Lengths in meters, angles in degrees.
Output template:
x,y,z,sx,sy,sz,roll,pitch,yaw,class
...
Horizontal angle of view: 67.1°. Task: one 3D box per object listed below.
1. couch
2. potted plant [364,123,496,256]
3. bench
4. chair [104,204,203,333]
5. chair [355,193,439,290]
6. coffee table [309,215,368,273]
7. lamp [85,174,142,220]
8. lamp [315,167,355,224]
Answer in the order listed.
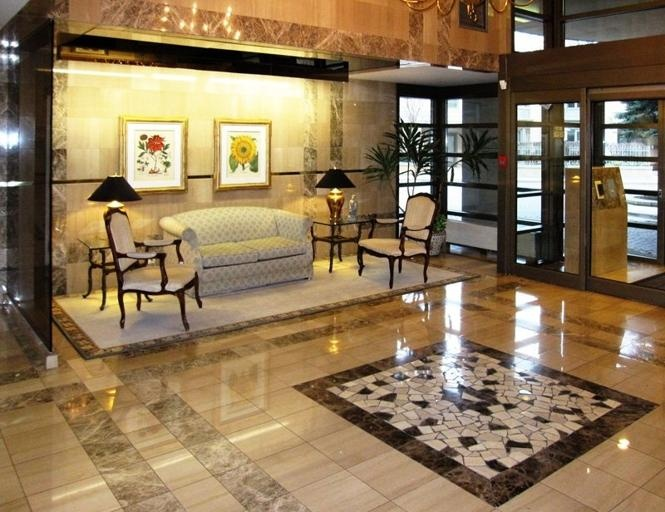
x,y,z,sx,sy,sz,roll,pitch,yaw,class
-1.397,-0.180,7.681,2.144,0.905,1.132,-12,26,-37,couch
1.800,-1.730,9.816,1.820,1.351,1.876,-3,2,0,potted plant
2.743,-0.365,9.137,0.660,0.660,2.479,-5,13,-8,bench
-2.115,0.075,6.194,1.129,1.178,0.871,9,16,5,chair
1.070,-0.321,8.105,1.130,1.197,1.015,-9,18,-18,chair
0.180,-0.240,8.964,1.135,0.842,1.068,-6,12,-35,coffee table
-2.870,-0.842,6.711,0.825,0.384,0.687,4,10,8,lamp
0.062,-1.078,8.740,0.815,0.794,0.750,-1,5,-28,lamp
